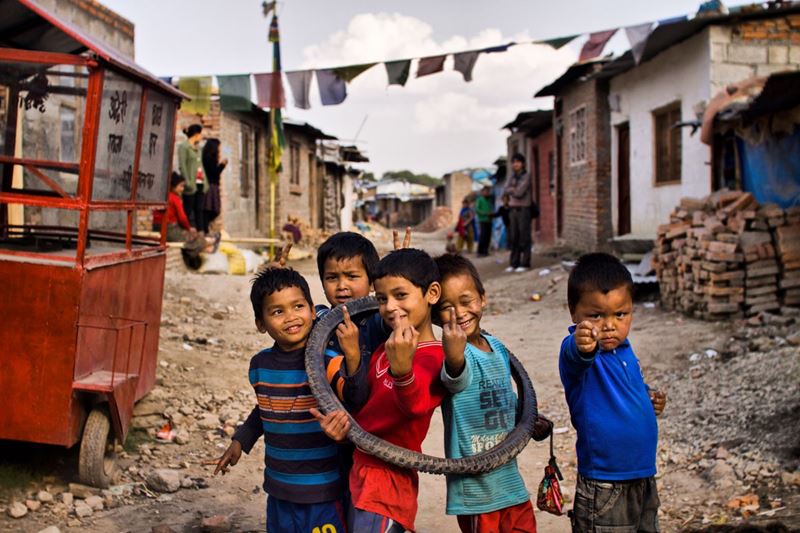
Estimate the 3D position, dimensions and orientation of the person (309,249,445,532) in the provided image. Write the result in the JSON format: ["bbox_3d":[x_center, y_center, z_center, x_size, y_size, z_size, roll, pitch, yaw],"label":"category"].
[{"bbox_3d":[-0.054,0.930,7.234,0.750,2.141,0.450,1,2,2],"label":"person"}]

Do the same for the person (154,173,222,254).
[{"bbox_3d":[-3.372,-0.843,15.063,0.823,1.233,2.384,1,1,5],"label":"person"}]

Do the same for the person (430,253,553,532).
[{"bbox_3d":[0.655,0.976,7.350,0.768,2.129,0.538,1,2,-10],"label":"person"}]
